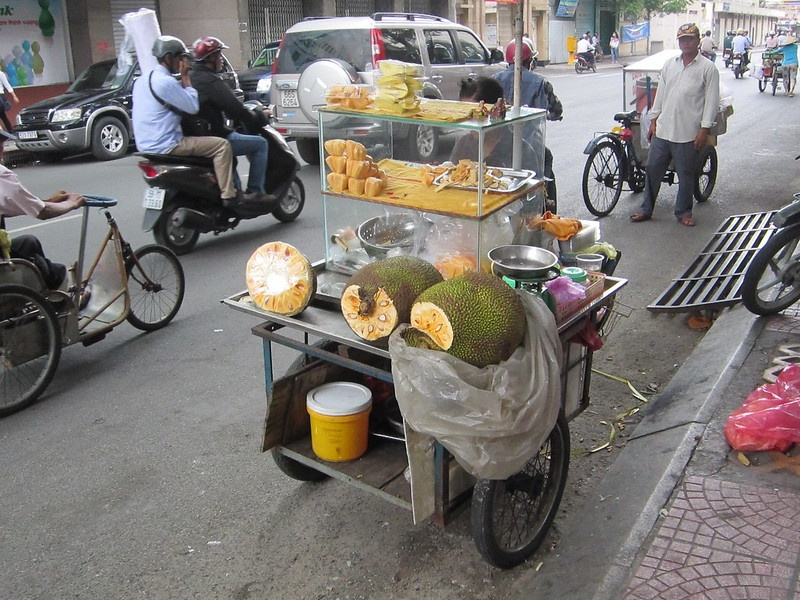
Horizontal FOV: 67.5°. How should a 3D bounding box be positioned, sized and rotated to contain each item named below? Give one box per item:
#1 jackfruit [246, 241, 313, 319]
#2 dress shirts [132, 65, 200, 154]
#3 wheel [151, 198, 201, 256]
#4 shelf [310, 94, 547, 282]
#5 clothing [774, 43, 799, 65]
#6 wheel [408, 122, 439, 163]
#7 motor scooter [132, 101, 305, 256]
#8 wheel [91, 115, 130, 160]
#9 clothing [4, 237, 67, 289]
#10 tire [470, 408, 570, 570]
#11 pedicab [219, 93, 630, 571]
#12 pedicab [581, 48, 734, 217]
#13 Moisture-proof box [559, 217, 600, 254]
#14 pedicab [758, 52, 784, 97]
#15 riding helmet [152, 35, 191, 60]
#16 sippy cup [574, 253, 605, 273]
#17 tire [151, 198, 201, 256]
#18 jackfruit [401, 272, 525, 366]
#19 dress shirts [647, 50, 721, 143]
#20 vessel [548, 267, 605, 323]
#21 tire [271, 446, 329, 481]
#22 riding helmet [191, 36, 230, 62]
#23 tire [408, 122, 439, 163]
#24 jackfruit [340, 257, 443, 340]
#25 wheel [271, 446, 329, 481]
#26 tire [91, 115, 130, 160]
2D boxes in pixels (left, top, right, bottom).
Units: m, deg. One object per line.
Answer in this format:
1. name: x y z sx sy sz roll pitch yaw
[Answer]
1. jackfruit: -0.672 -0.119 3.360 0.382 0.425 0.118 -13 -14 33
2. dress shirts: -2.657 -2.145 6.828 0.638 0.824 0.483 29 44 31
3. wheel: -2.599 -0.864 6.909 0.228 0.684 0.656 11 14 28
4. shelf: 0.187 -0.686 3.734 0.957 0.885 0.592 13 31 27
5. clothing: 13.085 -8.277 20.234 0.625 0.654 0.572 9 26 26
6. wheel: 0.160 -1.069 4.034 0.149 0.158 0.056 -4 28 38
7. motor scooter: -2.169 -1.699 7.603 0.983 1.836 2.485 18 30 30
8. wheel: -5.882 -3.309 12.316 0.797 0.860 0.281 4 11 10
9. clothing: -3.010 -0.362 4.820 0.141 0.302 0.441 33 23 -5
10. tire: 0.563 0.908 2.868 0.151 0.733 0.697 14 22 41
11. pedicab: 0.430 -0.052 3.792 1.947 1.770 2.415 10 18 33
12. pedicab: 3.580 -2.285 8.660 2.187 1.956 1.264 -18 30 -22
13. Moisture-proof box: 1.194 -0.406 3.988 0.218 0.128 0.348 10 27 33
14. pedicab: 13.345 -8.286 21.401 0.639 1.287 1.737 17 36 39
15. riding helmet: -2.524 -2.788 6.727 0.413 0.215 0.288 -18 42 -30
16. sippy cup: 1.216 -0.250 3.825 0.150 0.109 0.156 -1 21 0
17. tire: -2.599 -0.864 6.909 0.228 0.684 0.656 11 14 28
18. jackfruit: 0.289 0.117 2.798 0.482 0.386 0.293 -10 -15 -14
19. dress shirts: 3.529 -2.546 7.406 0.477 0.998 0.821 -24 33 -31
20. vessel: 0.947 -0.025 3.266 0.197 0.104 0.409 14 24 38
21. tire: -0.597 0.994 3.524 0.263 0.086 0.269 8 6 -16
22. riding helmet: -2.237 -2.972 7.173 0.423 0.203 0.303 -27 42 -22
23. tire: 0.160 -1.069 4.034 0.149 0.158 0.056 -4 28 38
24. jackfruit: -0.032 -0.037 3.147 0.474 0.357 0.353 -24 1 -38
25. wheel: -0.593 0.997 3.529 0.263 0.086 0.269 10 6 -1
26. tire: -5.984 -3.300 12.283 0.273 0.798 0.763 7 13 36
